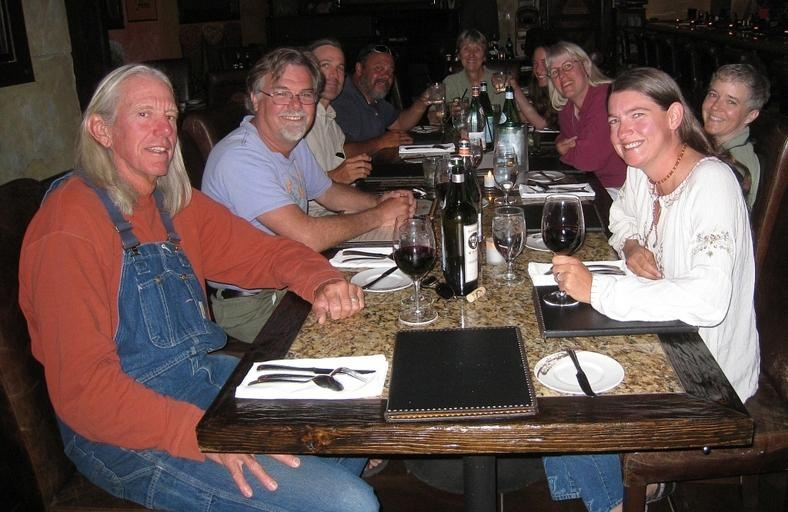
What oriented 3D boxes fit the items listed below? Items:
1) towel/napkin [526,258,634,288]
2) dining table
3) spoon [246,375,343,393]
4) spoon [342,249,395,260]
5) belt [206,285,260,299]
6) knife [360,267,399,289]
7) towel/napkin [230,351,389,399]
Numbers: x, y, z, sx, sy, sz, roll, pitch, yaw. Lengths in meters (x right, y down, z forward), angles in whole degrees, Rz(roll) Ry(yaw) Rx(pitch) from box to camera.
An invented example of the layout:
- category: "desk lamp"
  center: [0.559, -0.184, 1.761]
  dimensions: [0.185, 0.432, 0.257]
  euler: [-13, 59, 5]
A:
- category: "towel/napkin"
  center: [0.625, 0.055, 2.053]
  dimensions: [0.206, 0.035, 0.143]
  euler: [-1, 24, 2]
- category: "dining table"
  center: [0.270, 0.077, 1.721]
  dimensions: [0.908, 0.627, 0.883]
  euler: [0, 17, 3]
- category: "spoon"
  center: [-0.263, 0.356, 1.667]
  dimensions: [0.330, 0.047, 0.086]
  euler: [-1, 0, 5]
- category: "spoon"
  center: [-0.103, 0.007, 2.305]
  dimensions: [0.221, 0.021, 0.063]
  euler: [2, 41, 3]
- category: "belt"
  center: [-0.705, 0.159, 2.584]
  dimensions: [0.160, 0.039, 0.115]
  euler: [2, 9, -10]
- category: "knife"
  center: [-0.049, 0.079, 2.122]
  dimensions: [0.041, 0.014, 0.294]
  euler: [15, 17, 14]
- category: "towel/napkin"
  center: [-0.220, 0.346, 1.665]
  dimensions: [0.287, 0.037, 0.170]
  euler: [-1, 33, 3]
